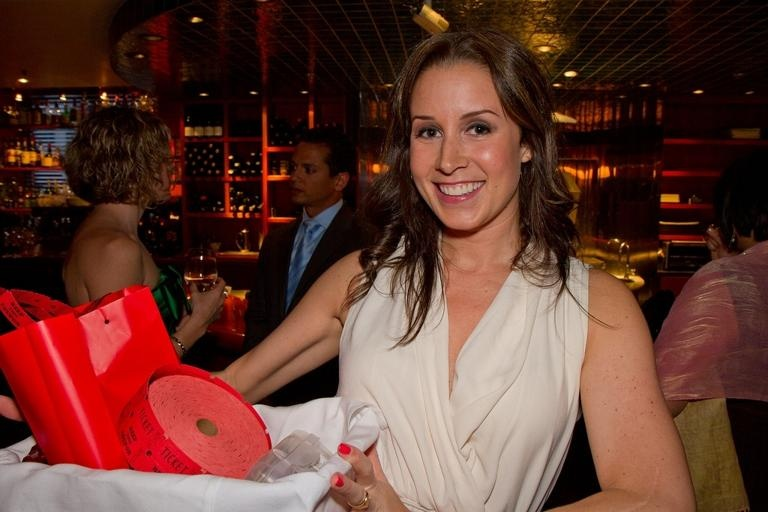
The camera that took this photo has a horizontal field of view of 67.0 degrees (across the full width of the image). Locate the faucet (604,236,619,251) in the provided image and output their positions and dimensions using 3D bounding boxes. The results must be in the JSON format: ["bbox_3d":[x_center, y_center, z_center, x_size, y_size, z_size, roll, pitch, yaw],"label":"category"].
[{"bbox_3d":[2.513,-0.122,6.410,0.124,0.132,0.143,13,6,-17],"label":"faucet"}]
